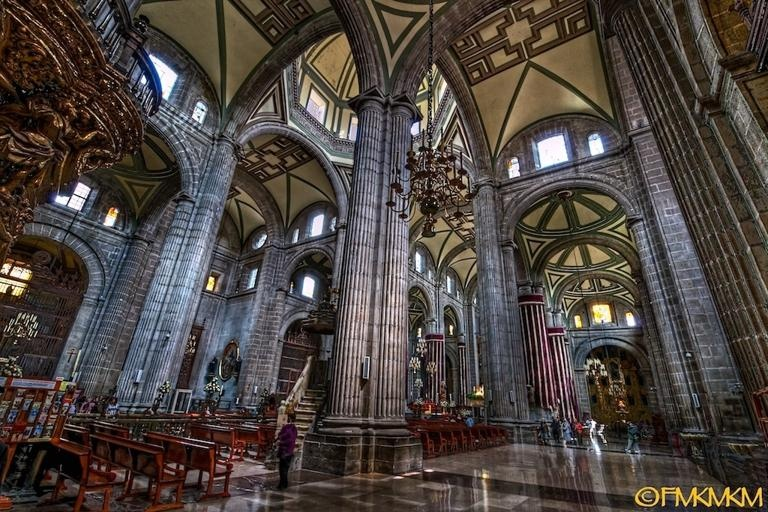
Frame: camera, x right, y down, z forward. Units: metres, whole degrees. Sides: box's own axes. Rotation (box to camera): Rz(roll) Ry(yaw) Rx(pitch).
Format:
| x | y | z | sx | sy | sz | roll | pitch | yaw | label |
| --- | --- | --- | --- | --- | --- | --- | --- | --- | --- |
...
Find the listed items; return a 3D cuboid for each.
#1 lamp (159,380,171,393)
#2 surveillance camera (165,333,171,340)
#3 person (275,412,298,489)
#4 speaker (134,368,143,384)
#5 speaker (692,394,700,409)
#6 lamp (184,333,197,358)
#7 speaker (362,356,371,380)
| x | y | z | sx | sy | sz | roll | pitch | yaw | label |
| --- | --- | --- | --- | --- | --- | --- | --- | --- | --- |
| -6.998 | 4.206 | 11.893 | 0.312 | 0.421 | 0.490 | 16 | -32 | -22 | lamp |
| -7.150 | 2.696 | 12.305 | 0.202 | 0.184 | 0.049 | 3 | -15 | -3 | surveillance camera |
| -1.864 | 3.708 | 7.105 | 0.330 | 1.262 | 1.003 | 10 | -30 | -10 | person |
| -7.776 | 3.835 | 11.788 | 0.221 | 0.446 | 0.088 | 10 | -30 | -11 | speaker |
| 9.302 | 4.318 | 11.036 | 0.063 | 0.420 | 0.200 | 15 | -31 | -20 | speaker |
| -10.691 | 4.966 | 20.689 | 0.194 | 1.318 | 0.717 | -7 | -31 | 18 | lamp |
| -0.396 | 2.611 | 8.602 | 0.185 | 0.515 | 0.214 | 2 | -29 | 2 | speaker |
